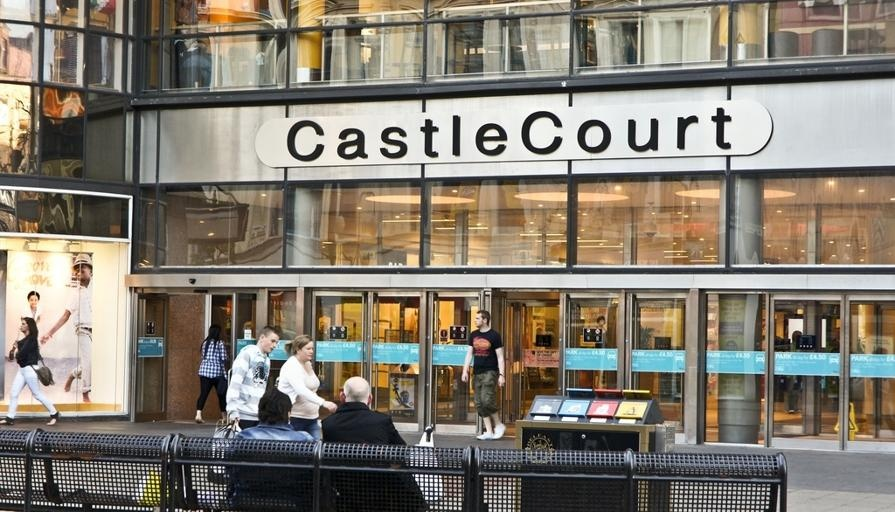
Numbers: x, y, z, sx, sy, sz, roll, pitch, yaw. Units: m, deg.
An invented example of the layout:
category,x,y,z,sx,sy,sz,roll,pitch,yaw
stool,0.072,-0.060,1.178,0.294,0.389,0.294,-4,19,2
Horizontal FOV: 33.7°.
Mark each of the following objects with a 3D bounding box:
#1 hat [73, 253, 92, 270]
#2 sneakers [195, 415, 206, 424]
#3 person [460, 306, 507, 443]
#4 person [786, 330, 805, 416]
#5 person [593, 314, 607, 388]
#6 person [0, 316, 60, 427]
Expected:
category,x,y,z,sx,sy,sz,roll,pitch,yaw
hat,-8.400,0.087,34.070,0.370,0.181,0.279,7,-8,-30
sneakers,-5.725,3.783,33.960,0.381,0.155,0.120,-9,-13,37
person,0.787,2.545,31.619,0.873,2.754,1.491,0,-6,0
person,7.435,2.472,31.476,0.358,1.770,0.162,-2,-6,12
person,3.365,2.065,32.292,0.295,1.572,0.134,-1,-6,7
person,-9.364,2.561,33.176,1.248,2.430,0.927,0,-6,-5
